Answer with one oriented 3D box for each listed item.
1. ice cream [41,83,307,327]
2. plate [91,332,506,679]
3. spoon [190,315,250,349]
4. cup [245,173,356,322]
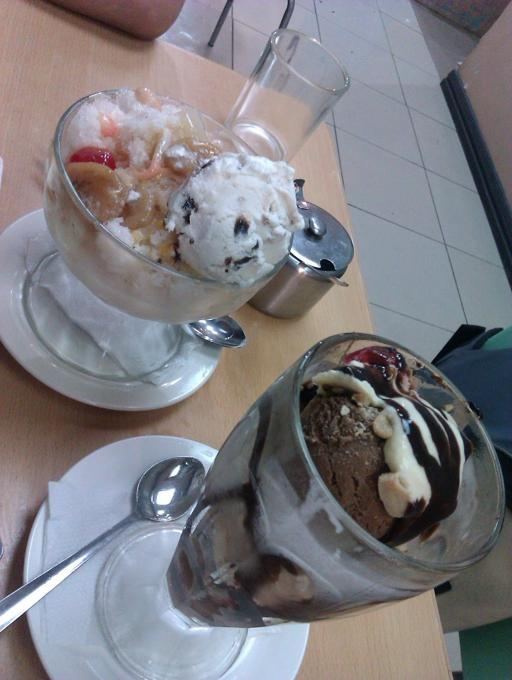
[{"bbox_3d":[-0.076,-0.099,0.516,0.199,0.109,0.197,-11,65,-31],"label":"ice cream"},{"bbox_3d":[0.066,0.114,0.474,0.181,0.309,0.196,45,25,-38],"label":"plate"},{"bbox_3d":[-0.035,-0.004,0.656,0.042,0.009,0.037,20,31,-20],"label":"spoon"},{"bbox_3d":[0.041,-0.072,0.752,0.084,0.077,0.112,20,13,-31],"label":"cup"}]
